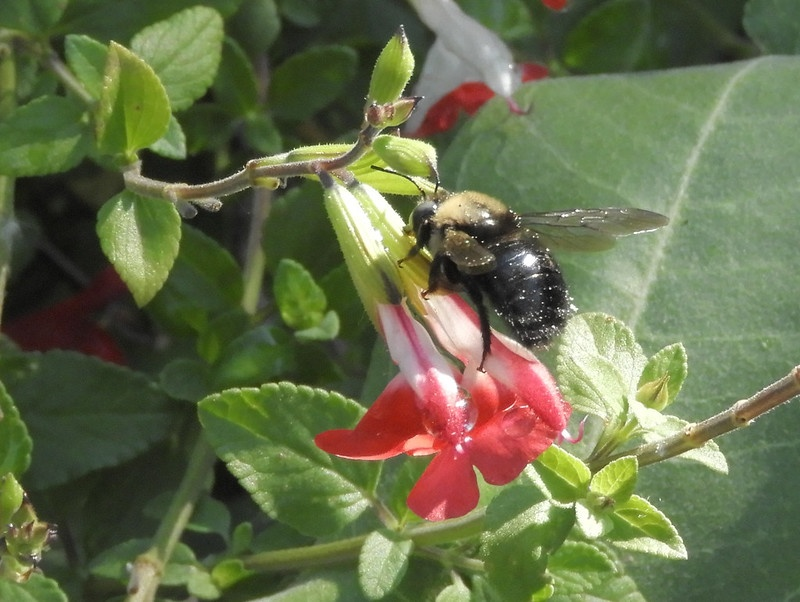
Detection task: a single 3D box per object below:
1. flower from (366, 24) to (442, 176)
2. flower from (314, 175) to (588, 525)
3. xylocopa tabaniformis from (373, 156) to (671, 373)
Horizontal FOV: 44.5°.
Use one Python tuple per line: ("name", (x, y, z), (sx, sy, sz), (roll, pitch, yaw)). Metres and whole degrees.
("flower", (0.001, -0.162, 0.915), (0.038, 0.052, 0.189), (-2, 102, -4))
("flower", (0.066, 0.009, 0.981), (0.240, 0.090, 0.338), (-29, 81, 46))
("xylocopa tabaniformis", (0.126, -0.049, 1.065), (0.268, 0.205, 0.086), (28, 108, 5))
